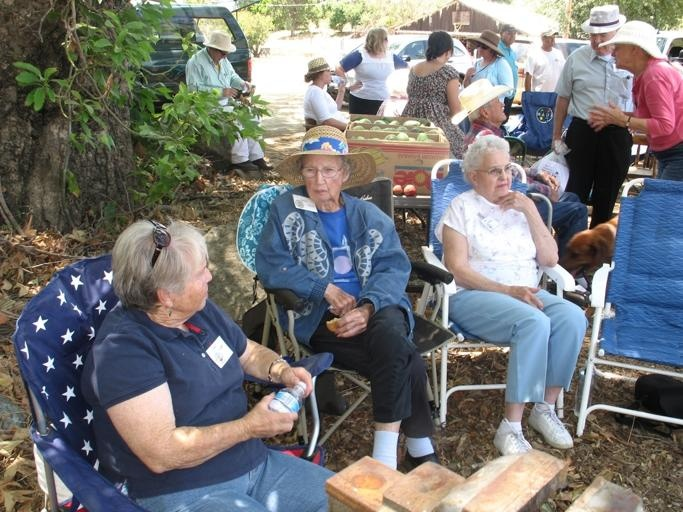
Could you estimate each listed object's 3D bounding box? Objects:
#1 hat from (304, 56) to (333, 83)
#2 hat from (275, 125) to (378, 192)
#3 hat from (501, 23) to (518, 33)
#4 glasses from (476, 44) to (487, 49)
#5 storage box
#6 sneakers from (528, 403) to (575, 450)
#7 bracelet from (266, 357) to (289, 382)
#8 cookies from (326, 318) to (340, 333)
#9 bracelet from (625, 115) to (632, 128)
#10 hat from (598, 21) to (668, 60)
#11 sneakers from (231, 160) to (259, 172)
[{"bbox_3d":[-0.298,-2.174,7.324,0.354,0.258,0.286,2,17,20],"label":"hat"},{"bbox_3d":[-0.082,-0.720,3.883,0.574,0.240,0.544,1,-21,8],"label":"hat"},{"bbox_3d":[2.394,-3.271,9.124,0.204,0.128,0.259,-11,19,-18],"label":"hat"},{"bbox_3d":[1.676,-2.501,7.521,0.068,0.060,0.021,-2,-11,5],"label":"glasses"},{"bbox_3d":[0.528,-0.949,5.742,0.746,0.336,0.953,2,23,-2],"label":"storage box"},{"bbox_3d":[1.268,0.996,3.787,0.151,0.198,0.332,-9,22,-20],"label":"sneakers"},{"bbox_3d":[-0.314,0.558,3.107,0.051,0.108,0.096,20,-26,-15],"label":"bracelet"},{"bbox_3d":[-0.040,0.401,3.596,0.084,0.069,0.025,-40,-28,29],"label":"cookies"},{"bbox_3d":[2.339,-1.090,5.129,0.029,0.088,0.099,9,-15,8],"label":"bracelet"},{"bbox_3d":[2.333,-1.713,5.001,0.436,0.317,0.475,1,16,17],"label":"hat"},{"bbox_3d":[-1.189,-1.102,7.714,0.326,0.113,0.116,-2,19,-9],"label":"sneakers"}]
